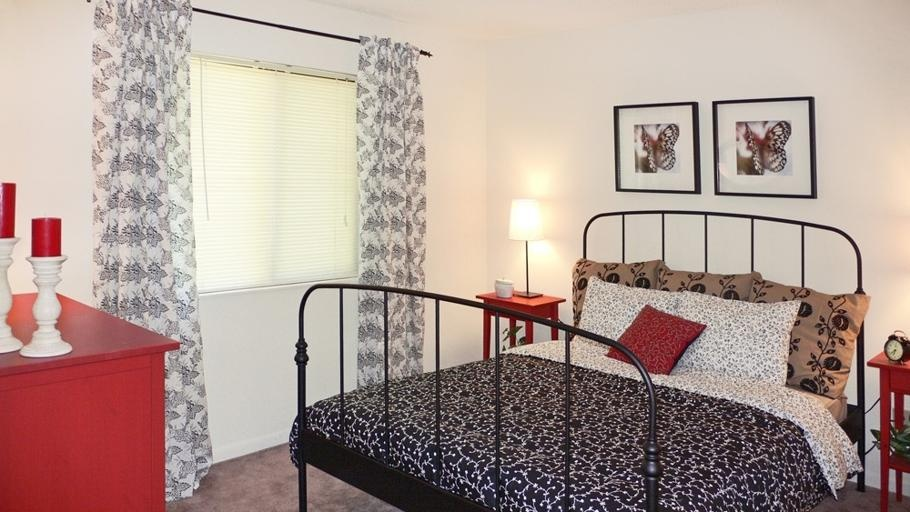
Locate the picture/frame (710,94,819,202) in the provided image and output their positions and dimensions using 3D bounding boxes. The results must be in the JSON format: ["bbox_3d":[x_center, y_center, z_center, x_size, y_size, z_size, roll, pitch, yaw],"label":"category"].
[{"bbox_3d":[2.269,-0.791,4.457,0.753,0.697,0.023,-2,1,-6],"label":"picture/frame"}]

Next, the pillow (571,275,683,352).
[{"bbox_3d":[1.240,0.402,4.433,0.196,0.460,0.653,32,-8,-33],"label":"pillow"}]

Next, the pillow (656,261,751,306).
[{"bbox_3d":[1.841,0.220,4.433,0.653,0.373,0.195,5,47,16],"label":"pillow"}]

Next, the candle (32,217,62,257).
[{"bbox_3d":[-1.914,-0.085,2.845,0.151,0.157,0.146,2,3,34],"label":"candle"}]

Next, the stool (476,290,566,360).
[{"bbox_3d":[0.575,0.689,5.444,0.819,0.709,0.544,2,4,2],"label":"stool"}]

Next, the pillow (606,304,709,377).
[{"bbox_3d":[1.351,0.553,3.995,0.519,0.536,0.164,22,-21,41],"label":"pillow"}]

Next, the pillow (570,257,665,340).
[{"bbox_3d":[1.193,0.320,4.383,0.629,0.552,0.226,-2,-14,44],"label":"pillow"}]

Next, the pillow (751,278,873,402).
[{"bbox_3d":[2.335,0.564,3.946,0.755,0.628,0.389,10,25,34],"label":"pillow"}]
